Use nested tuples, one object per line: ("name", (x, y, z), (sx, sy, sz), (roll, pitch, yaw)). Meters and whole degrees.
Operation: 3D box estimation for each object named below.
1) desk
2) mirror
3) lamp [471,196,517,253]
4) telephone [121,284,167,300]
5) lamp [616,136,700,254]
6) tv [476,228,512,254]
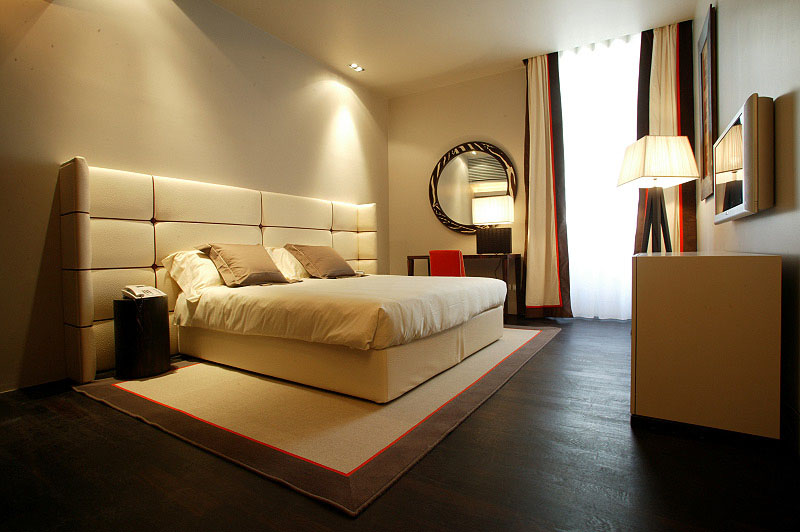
("desk", (2.006, 0.425, 3.634), (0.827, 1.263, 1.227), (-1, -3, 26))
("mirror", (0.934, -0.960, 6.432), (1.078, 1.218, 0.065), (-3, -5, 29))
("lamp", (1.137, -0.496, 6.202), (0.553, 0.934, 0.295), (-4, -11, 29))
("telephone", (-1.927, 0.197, 3.962), (0.164, 0.066, 0.160), (4, 2, 30))
("lamp", (2.243, -0.625, 4.592), (0.500, 0.997, 0.434), (-4, 4, -16))
("tv", (1.083, -0.292, 6.060), (0.461, 0.371, 0.259), (2, 4, 30))
